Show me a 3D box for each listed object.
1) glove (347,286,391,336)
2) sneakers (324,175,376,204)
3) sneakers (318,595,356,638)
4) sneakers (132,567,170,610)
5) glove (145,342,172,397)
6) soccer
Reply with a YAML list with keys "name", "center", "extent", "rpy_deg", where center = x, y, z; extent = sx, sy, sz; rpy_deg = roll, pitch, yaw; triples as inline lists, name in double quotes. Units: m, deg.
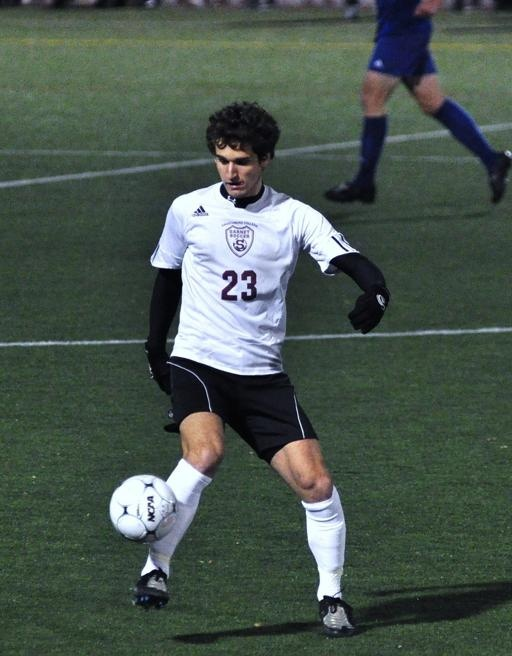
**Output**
- name: "glove"
  center: [0.326, -0.050, 2.763]
  extent: [0.102, 0.043, 0.154]
  rpy_deg: [42, 83, -3]
- name: "sneakers"
  center: [0.753, -1.039, 7.300]
  extent: [0.472, 0.140, 0.148]
  rpy_deg: [2, 10, 16]
- name: "sneakers"
  center: [0.245, 0.857, 2.822]
  extent: [0.097, 0.093, 0.102]
  rpy_deg: [-2, 38, -3]
- name: "sneakers"
  center: [-0.299, 0.734, 2.703]
  extent: [0.105, 0.132, 0.105]
  rpy_deg: [19, 54, -26]
- name: "glove"
  center: [-0.316, 0.136, 3.269]
  extent: [0.082, 0.202, 0.076]
  rpy_deg: [-29, 42, -20]
- name: "soccer"
  center: [-0.327, 0.521, 2.759]
  extent: [0.191, 0.152, 0.171]
  rpy_deg: [7, 38, 9]
